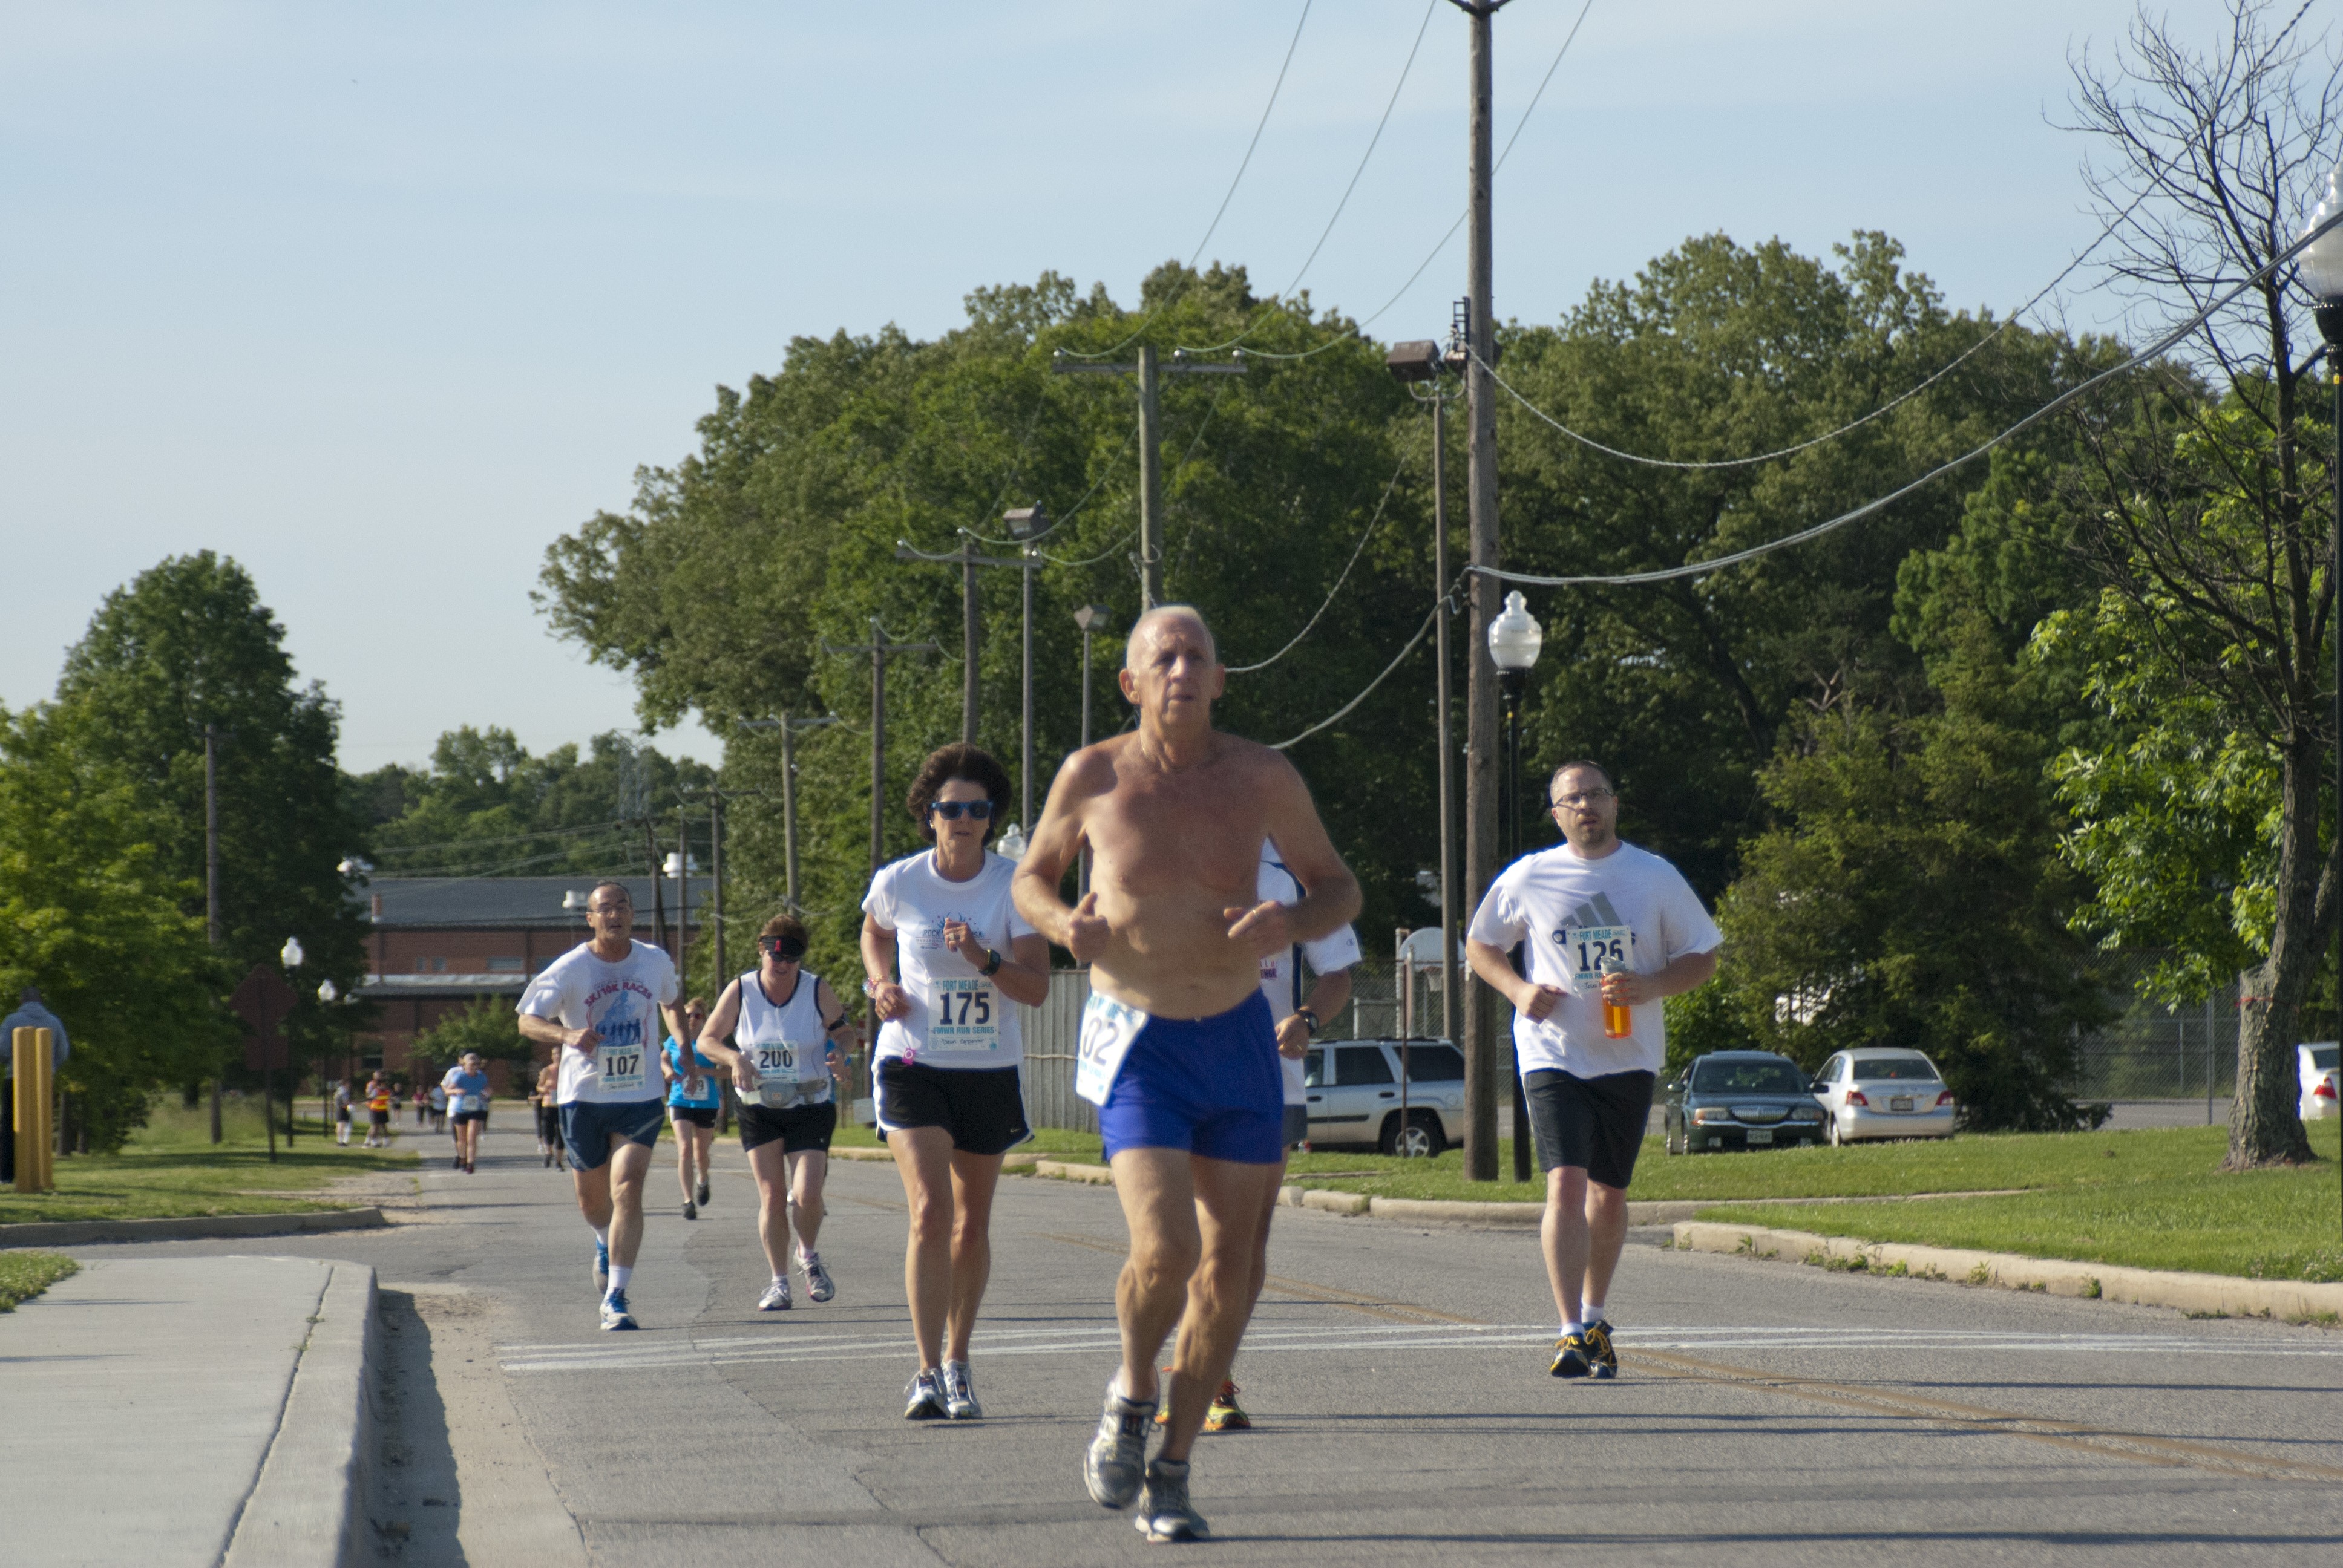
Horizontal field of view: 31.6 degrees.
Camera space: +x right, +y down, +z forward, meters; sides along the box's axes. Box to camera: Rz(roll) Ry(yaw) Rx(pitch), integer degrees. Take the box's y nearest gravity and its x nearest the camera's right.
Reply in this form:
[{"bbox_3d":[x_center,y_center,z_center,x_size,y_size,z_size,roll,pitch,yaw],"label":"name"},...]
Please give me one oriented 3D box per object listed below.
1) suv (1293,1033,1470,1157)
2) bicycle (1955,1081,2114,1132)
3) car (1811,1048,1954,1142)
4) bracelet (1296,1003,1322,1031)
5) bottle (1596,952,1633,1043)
[{"bbox_3d":[2.834,4.246,55.121,2.289,1.155,1.302,3,-3,1],"label":"suv"},{"bbox_3d":[13.242,5.106,63.765,1.624,0.622,1.256,2,-2,2],"label":"bicycle"},{"bbox_3d":[9.774,4.300,56.507,1.680,1.206,1.237,-1,-5,7],"label":"car"},{"bbox_3d":[1.022,1.739,30.199,0.120,0.181,0.188,14,25,5],"label":"bracelet"},{"bbox_3d":[3.418,1.723,31.547,0.227,0.519,0.198,-1,-5,5],"label":"bottle"}]
